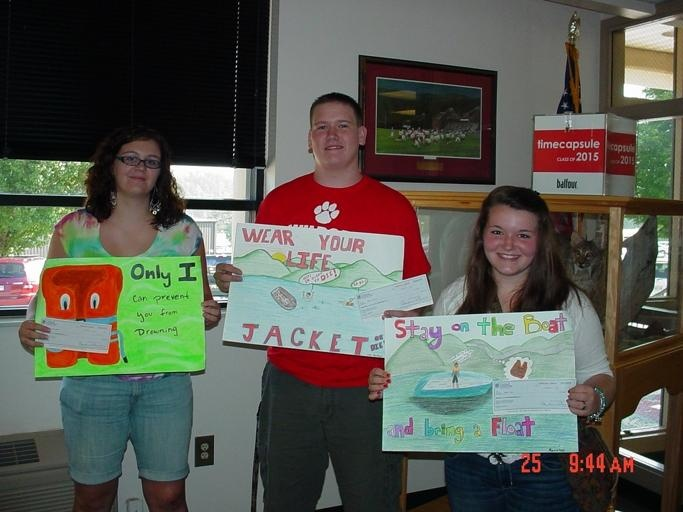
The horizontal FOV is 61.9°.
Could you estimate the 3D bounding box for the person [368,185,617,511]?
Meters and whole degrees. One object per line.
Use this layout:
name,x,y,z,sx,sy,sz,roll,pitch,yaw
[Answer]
person,0.679,0.351,2.173,0.685,1.219,0.361,1,8,16

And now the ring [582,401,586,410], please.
ring,0.870,0.534,2.039,0.022,0.022,0.005,-10,7,-34

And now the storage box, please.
storage box,1.322,-0.548,2.999,0.574,0.401,0.606,0,13,18

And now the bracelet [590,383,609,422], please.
bracelet,0.941,0.537,2.070,0.033,0.110,0.095,3,0,2
